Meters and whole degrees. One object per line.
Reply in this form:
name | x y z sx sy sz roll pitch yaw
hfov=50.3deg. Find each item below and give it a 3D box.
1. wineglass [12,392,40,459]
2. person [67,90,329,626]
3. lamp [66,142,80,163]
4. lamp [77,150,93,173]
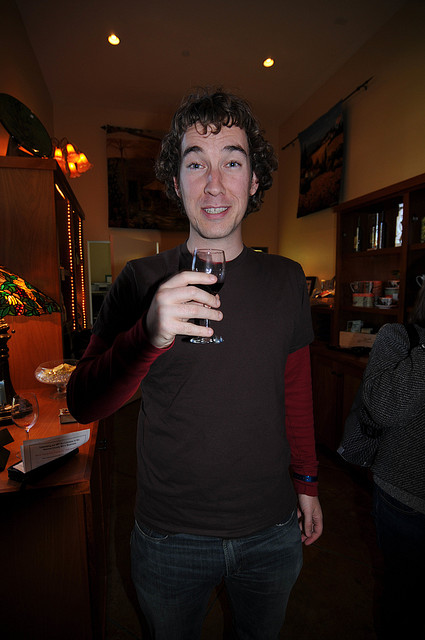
wineglass | -0.677 0.329 1.635 0.084 0.122 0.102 -7 14 -25
person | 0.006 0.128 1.345 0.522 1.595 0.760 11 17 44
lamp | -1.187 -1.433 3.858 0.103 0.140 0.360 -4 14 -16
lamp | -1.158 -1.423 4.072 0.107 0.157 0.321 -4 13 -15
